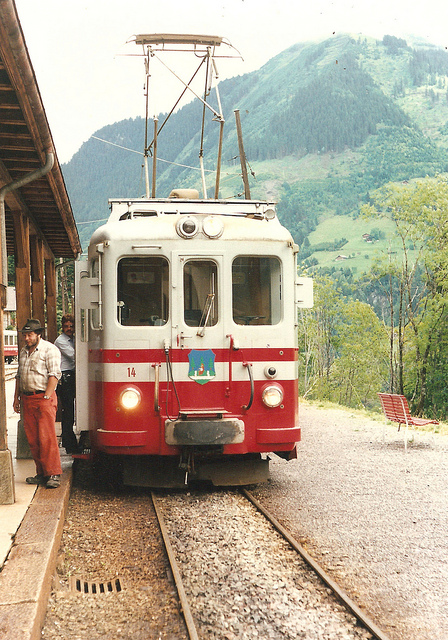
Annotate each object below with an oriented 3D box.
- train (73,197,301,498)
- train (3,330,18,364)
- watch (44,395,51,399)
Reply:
[{"bbox_3d":[-1.105,-0.010,9.499,2.912,3.211,6.224,0,4,-15],"label":"train"},{"bbox_3d":[-17.978,2.243,50.837,1.014,2.449,7.899,5,-3,-20],"label":"train"},{"bbox_3d":[-1.907,0.828,6.538,0.040,0.040,0.015,0,-3,-2],"label":"watch"}]
